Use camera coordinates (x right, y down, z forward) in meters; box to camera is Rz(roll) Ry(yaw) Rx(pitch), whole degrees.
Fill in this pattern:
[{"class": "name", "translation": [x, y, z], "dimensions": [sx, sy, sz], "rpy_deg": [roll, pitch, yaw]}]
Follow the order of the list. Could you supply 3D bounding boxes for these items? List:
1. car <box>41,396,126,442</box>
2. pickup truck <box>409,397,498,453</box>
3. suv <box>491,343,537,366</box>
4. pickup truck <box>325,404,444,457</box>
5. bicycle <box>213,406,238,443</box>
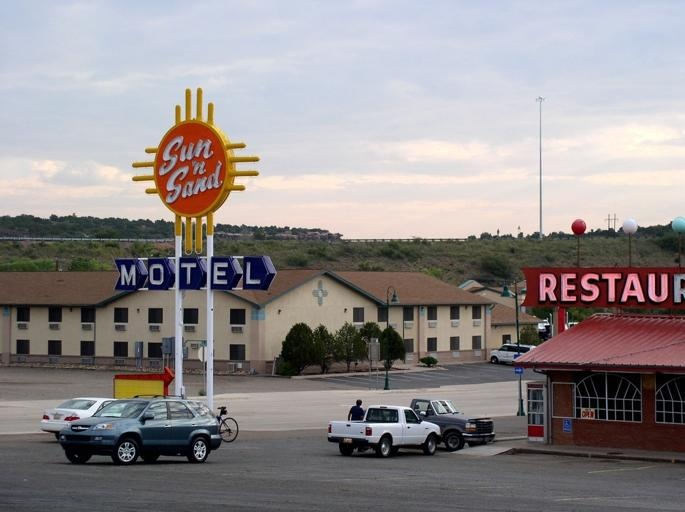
[{"class": "car", "translation": [-12.317, 7.661, 76.018], "dimensions": [2.305, 1.635, 5.097], "rpy_deg": [6, 5, 26]}, {"class": "pickup truck", "translation": [4.556, 8.358, 77.729], "dimensions": [5.786, 2.417, 3.151], "rpy_deg": [0, -3, 33]}, {"class": "suv", "translation": [13.418, 8.042, 124.287], "dimensions": [3.617, 1.546, 1.815], "rpy_deg": [3, 1, 35]}, {"class": "pickup truck", "translation": [1.982, 8.257, 72.916], "dimensions": [5.268, 2.456, 1.717], "rpy_deg": [4, -9, -34]}, {"class": "bicycle", "translation": [-5.914, 8.323, 77.458], "dimensions": [0.883, 1.290, 2.185], "rpy_deg": [-2, -5, -5]}]
